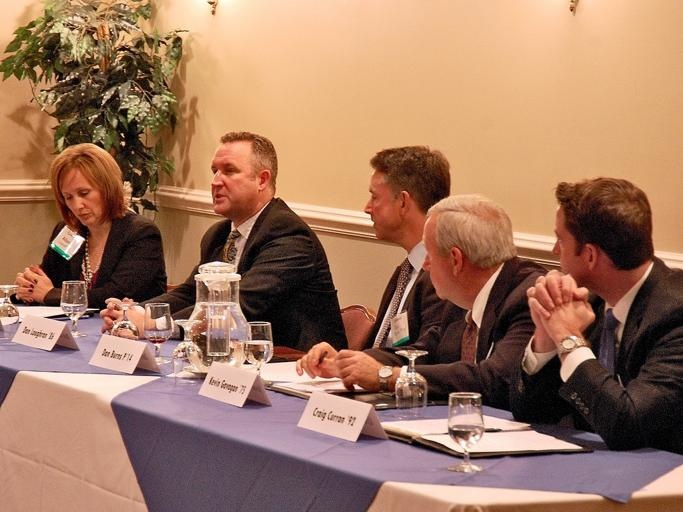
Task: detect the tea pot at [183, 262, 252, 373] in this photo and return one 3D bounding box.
[{"bbox_3d":[-0.424,0.206,1.763,0.218,0.353,0.226,-5,-6,-1],"label":"tea pot"}]

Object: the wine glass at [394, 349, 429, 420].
[{"bbox_3d":[0.187,0.344,1.437,0.126,0.169,0.129,-5,-11,29],"label":"wine glass"}]

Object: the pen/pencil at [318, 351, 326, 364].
[{"bbox_3d":[-0.061,0.325,1.726,0.011,0.031,0.024,13,-37,7],"label":"pen/pencil"}]

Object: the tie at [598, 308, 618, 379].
[{"bbox_3d":[0.817,0.267,1.630,0.022,0.189,0.043,3,0,-13],"label":"tie"}]

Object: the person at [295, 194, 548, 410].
[{"bbox_3d":[0.362,0.210,1.914,0.912,0.809,0.660,-3,11,-19],"label":"person"}]

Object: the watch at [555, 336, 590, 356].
[{"bbox_3d":[0.588,0.226,1.374,0.069,0.044,0.065,-18,-19,36],"label":"watch"}]

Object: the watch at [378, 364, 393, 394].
[{"bbox_3d":[0.145,0.363,1.585,0.041,0.065,0.064,-3,-42,13],"label":"watch"}]

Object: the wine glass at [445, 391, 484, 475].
[{"bbox_3d":[0.249,0.337,1.066,0.078,0.151,0.157,9,-1,16],"label":"wine glass"}]

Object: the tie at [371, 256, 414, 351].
[{"bbox_3d":[0.262,0.228,2.695,0.049,0.482,0.071,26,-16,5],"label":"tie"}]

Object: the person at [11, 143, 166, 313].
[{"bbox_3d":[-1.501,-0.110,3.308,0.901,1.063,0.866,-1,3,-31],"label":"person"}]
